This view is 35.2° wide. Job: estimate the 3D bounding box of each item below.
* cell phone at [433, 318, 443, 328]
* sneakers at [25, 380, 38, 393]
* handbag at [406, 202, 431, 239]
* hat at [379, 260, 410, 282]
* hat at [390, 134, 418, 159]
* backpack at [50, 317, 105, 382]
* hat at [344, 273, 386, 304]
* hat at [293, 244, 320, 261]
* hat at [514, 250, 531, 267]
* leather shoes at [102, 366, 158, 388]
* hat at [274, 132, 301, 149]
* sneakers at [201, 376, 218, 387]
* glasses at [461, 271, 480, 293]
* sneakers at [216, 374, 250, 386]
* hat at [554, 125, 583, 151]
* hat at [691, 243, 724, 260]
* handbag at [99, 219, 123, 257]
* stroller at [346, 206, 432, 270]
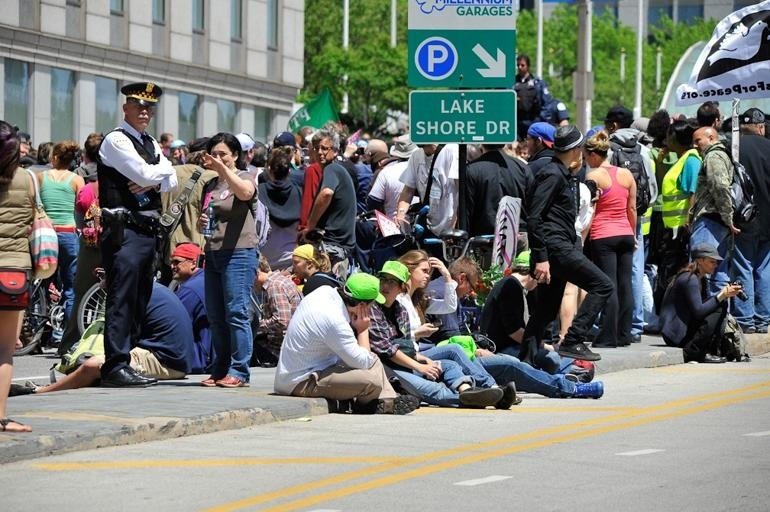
[{"bbox_3d":[0.605,0.750,13.793,0.096,0.099,0.026,-7,44,-11],"label":"cell phone"},{"bbox_3d":[-3.772,1.361,12.862,0.136,0.116,0.329,2,-2,-7],"label":"sneakers"},{"bbox_3d":[0.453,-0.464,15.840,0.322,0.426,0.432,0,3,-1],"label":"handbag"},{"bbox_3d":[0.111,0.173,13.048,0.281,0.244,0.448,-2,-1,8],"label":"hat"},{"bbox_3d":[0.302,-1.649,18.443,0.383,0.175,0.450,29,50,33],"label":"hat"},{"bbox_3d":[-3.524,1.072,13.899,0.475,0.331,0.626,-49,13,-27],"label":"backpack"},{"bbox_3d":[-0.188,0.337,12.459,0.371,0.188,0.257,10,25,-33],"label":"hat"},{"bbox_3d":[-0.982,-0.065,14.767,0.240,0.139,0.172,15,17,8],"label":"hat"},{"bbox_3d":[1.708,0.046,15.023,0.216,0.229,0.153,1,12,-11],"label":"hat"},{"bbox_3d":[-2.759,1.262,12.948,0.461,0.193,0.246,0,-2,-4],"label":"leather shoes"},{"bbox_3d":[-1.536,-1.755,18.578,0.318,0.251,0.495,2,14,18],"label":"hat"},{"bbox_3d":[-1.922,1.353,13.233,0.188,0.076,0.089,0,-7,43],"label":"sneakers"},{"bbox_3d":[1.036,0.292,14.302,0.136,0.247,0.186,-22,-1,8],"label":"glasses"},{"bbox_3d":[-1.653,1.342,13.150,0.304,0.110,0.120,10,-11,-41],"label":"sneakers"},{"bbox_3d":[2.155,-1.379,14.296,0.334,0.242,0.176,5,-28,26],"label":"hat"},{"bbox_3d":[4.254,-0.066,16.017,0.310,0.152,0.227,3,3,7],"label":"hat"},{"bbox_3d":[-2.922,-0.194,12.868,0.304,0.361,0.102,-3,-1,35],"label":"handbag"},{"bbox_3d":[0.164,-0.255,16.146,1.087,0.662,0.713,14,1,-41],"label":"stroller"}]
